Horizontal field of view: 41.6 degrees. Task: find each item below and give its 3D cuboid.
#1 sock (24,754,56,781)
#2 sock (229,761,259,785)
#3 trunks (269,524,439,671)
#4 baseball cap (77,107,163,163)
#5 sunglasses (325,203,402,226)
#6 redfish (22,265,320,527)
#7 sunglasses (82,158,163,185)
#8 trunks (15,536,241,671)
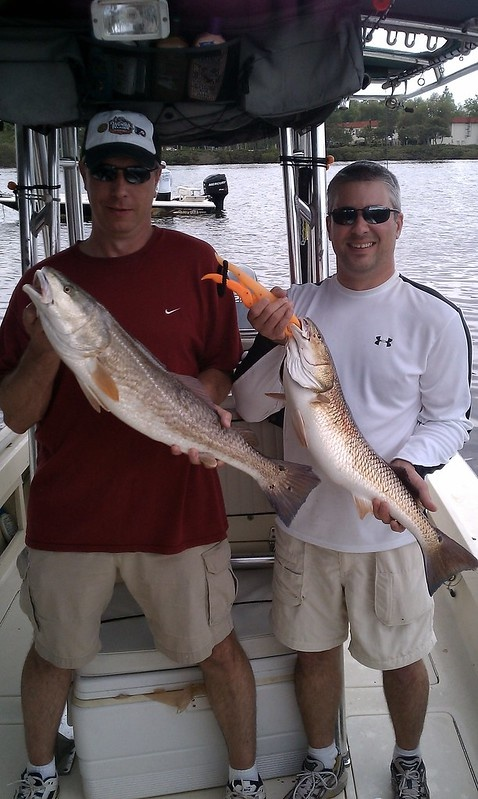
[{"bbox_3d":[-0.640,1.209,2.059,0.123,0.052,0.044,21,8,-35],"label":"sock"},{"bbox_3d":[0.016,1.214,2.039,0.113,0.049,0.040,6,4,-12],"label":"sock"},{"bbox_3d":[0.356,0.605,1.947,0.501,0.487,0.267,4,11,25],"label":"trunks"},{"bbox_3d":[-0.364,-0.802,1.921,0.226,0.155,0.313,-2,23,-13],"label":"baseball cap"},{"bbox_3d":[0.378,-0.554,1.915,0.197,0.055,0.103,0,14,11],"label":"sunglasses"},{"bbox_3d":[-0.198,-0.007,1.743,1.157,0.338,0.237,39,-10,-35],"label":"redfish"},{"bbox_3d":[-0.334,-0.652,1.841,0.201,0.068,0.101,-6,14,-15],"label":"sunglasses"},{"bbox_3d":[-0.370,0.570,2.005,0.692,0.513,0.243,-2,14,-5],"label":"trunks"}]
